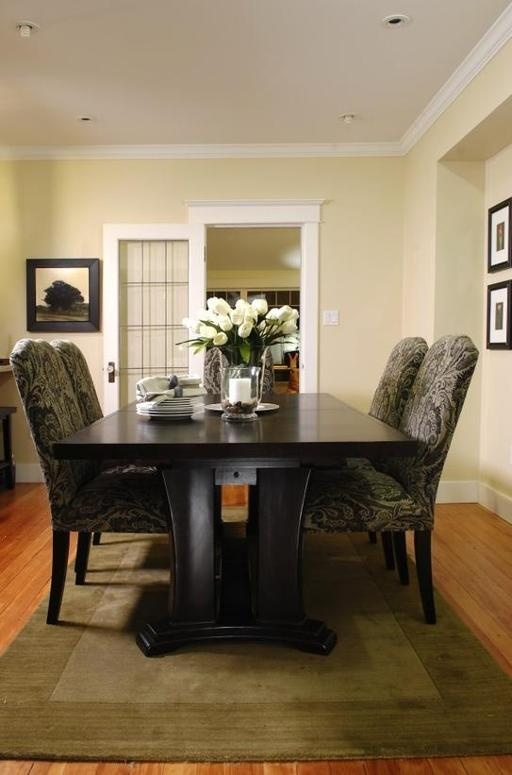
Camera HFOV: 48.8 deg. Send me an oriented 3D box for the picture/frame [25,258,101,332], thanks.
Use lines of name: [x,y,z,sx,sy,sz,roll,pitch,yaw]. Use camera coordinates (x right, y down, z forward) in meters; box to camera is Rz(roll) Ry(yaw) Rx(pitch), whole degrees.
picture/frame: [-1.333,-0.668,3.928,0.479,0.535,0.019,0,2,-5]

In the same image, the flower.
flower: [-0.023,-0.182,1.894,0.283,0.215,0.295,0,10,8]

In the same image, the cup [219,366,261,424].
cup: [-0.025,0.032,1.767,0.150,0.190,0.155,0,-2,0]
